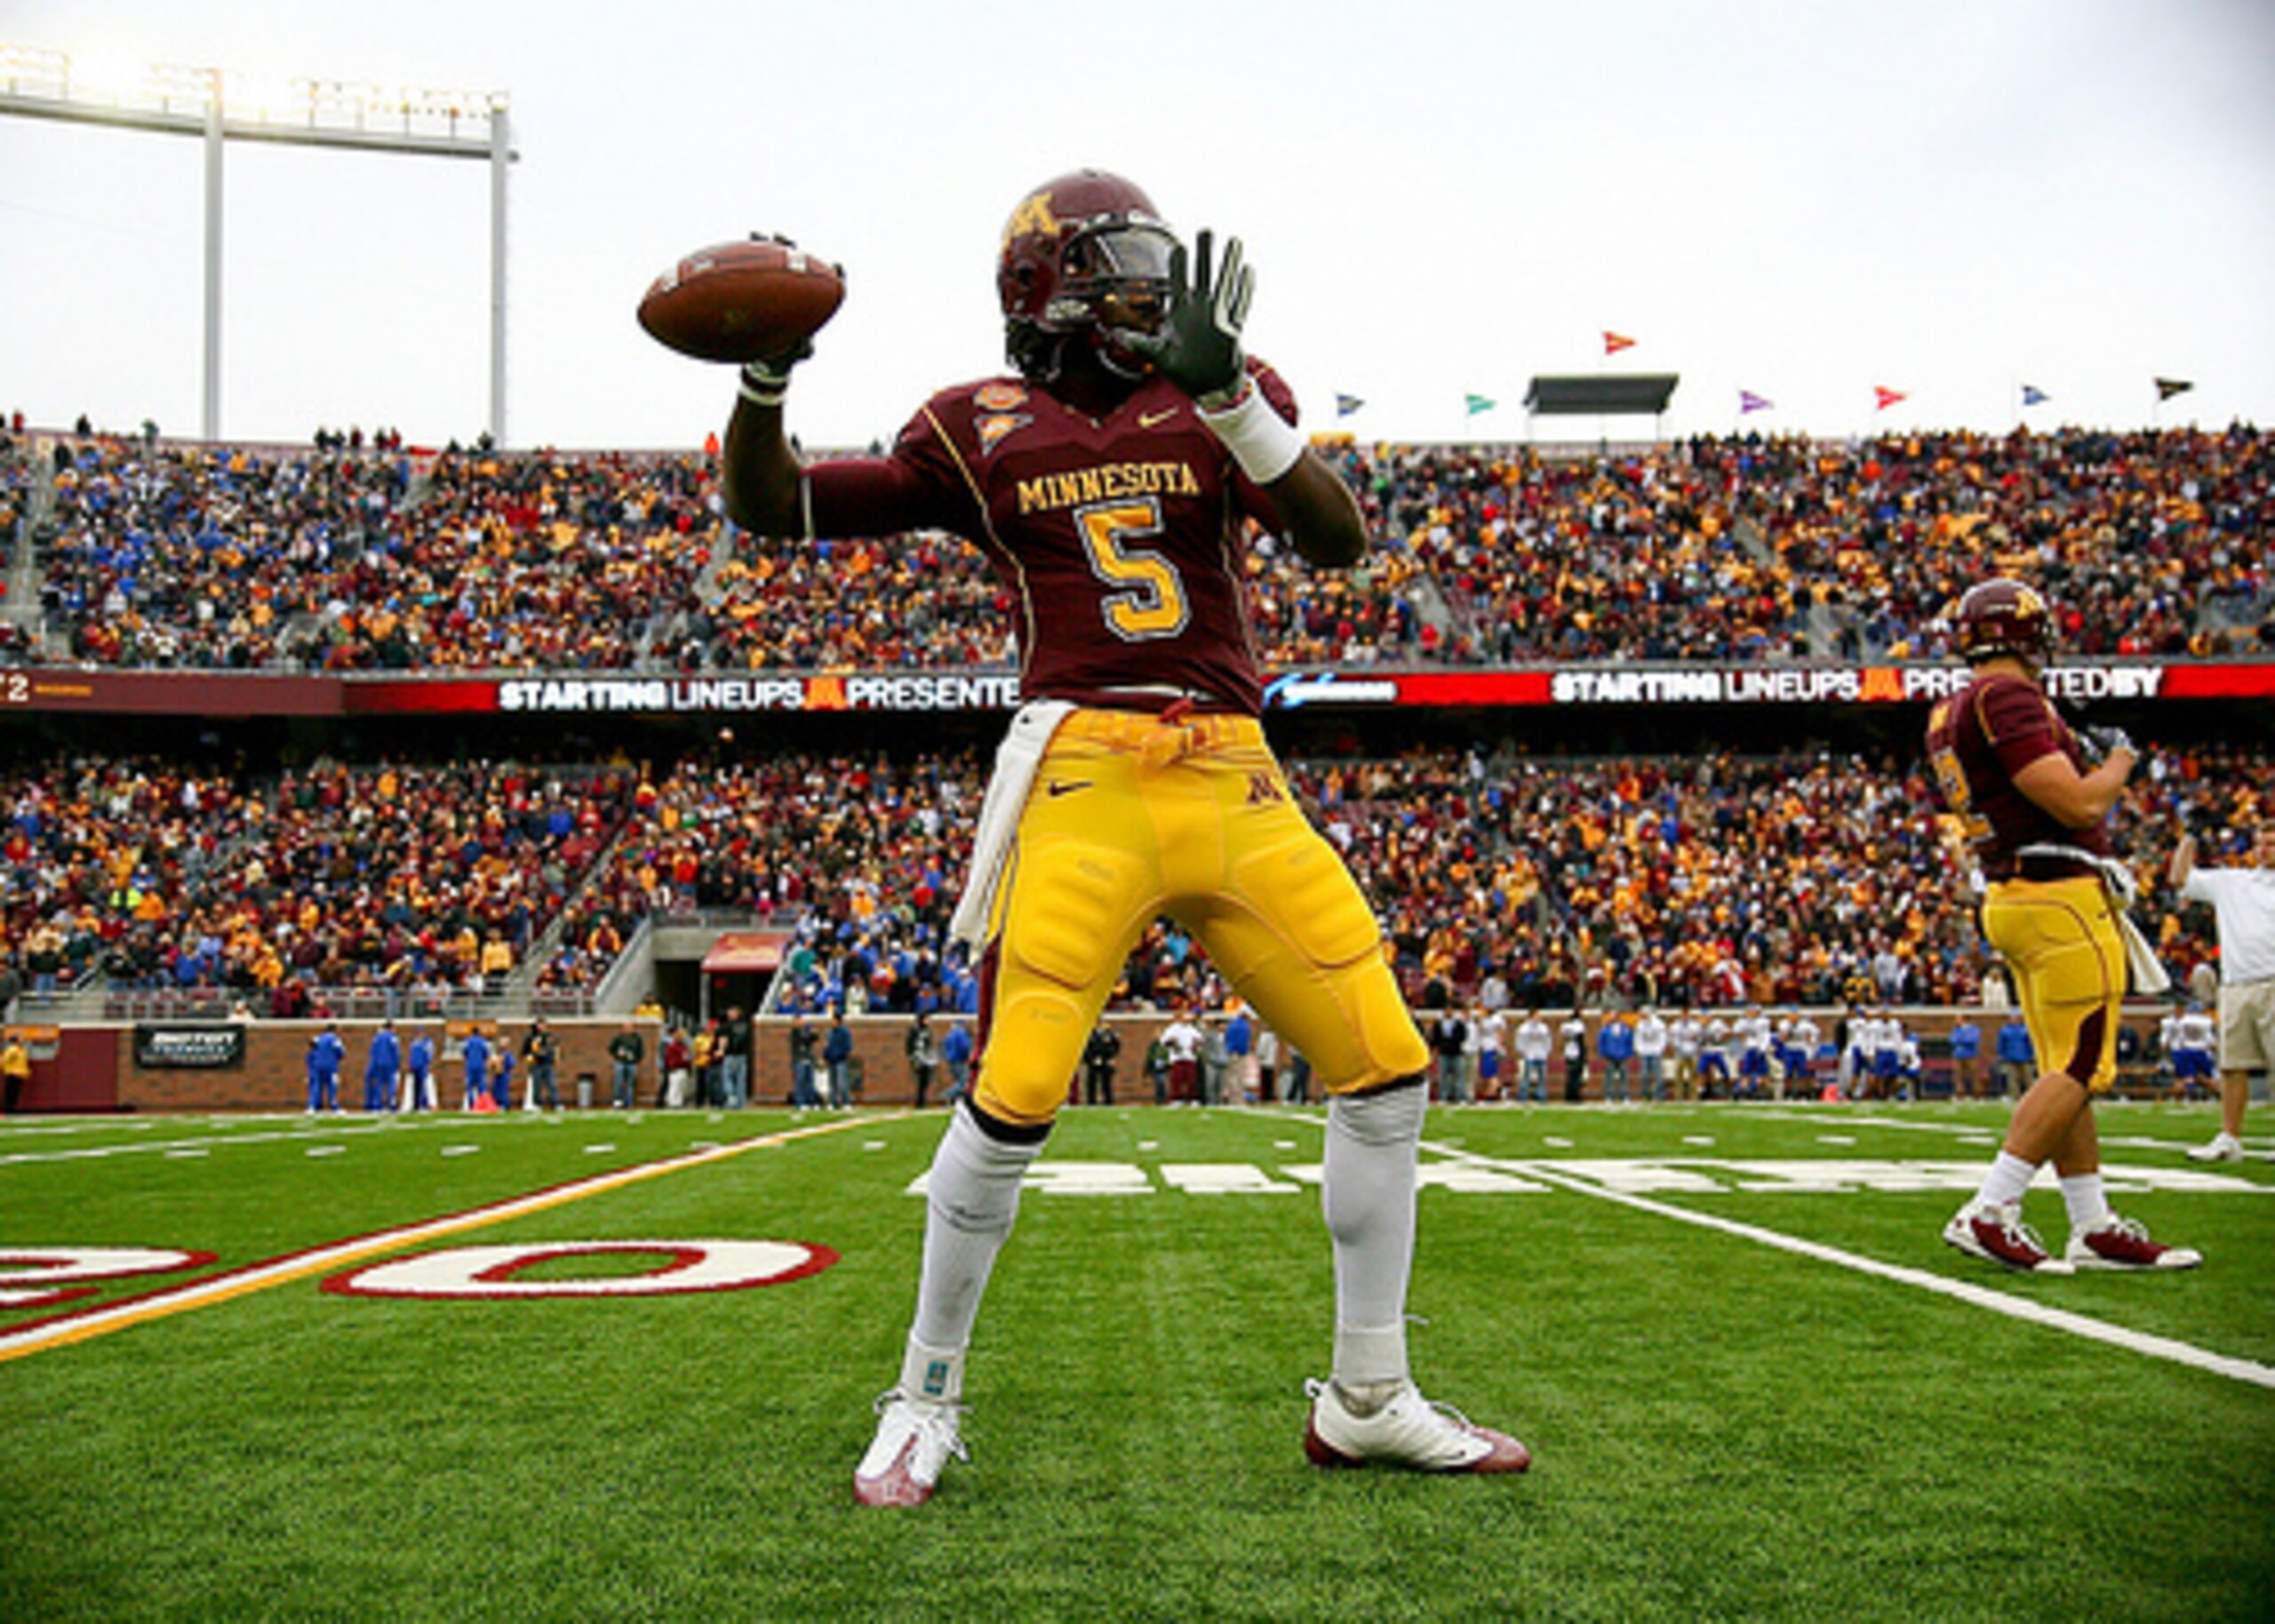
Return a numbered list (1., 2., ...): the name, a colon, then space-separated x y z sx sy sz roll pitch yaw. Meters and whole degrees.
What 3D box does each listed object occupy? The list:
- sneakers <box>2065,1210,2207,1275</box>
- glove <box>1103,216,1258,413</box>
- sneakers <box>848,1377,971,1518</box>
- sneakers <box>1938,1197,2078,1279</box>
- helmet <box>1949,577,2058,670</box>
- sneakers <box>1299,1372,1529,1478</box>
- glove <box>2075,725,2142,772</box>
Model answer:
1. sneakers: 3.455 1.476 6.708 0.535 0.211 0.178 -2 -4 8
2. glove: 0.126 -1.113 4.501 0.254 0.382 0.409 1 -3 -19
3. sneakers: -0.529 1.431 4.429 0.191 0.207 0.298 0 -3 4
4. sneakers: 2.991 1.446 6.627 0.500 0.241 0.177 13 4 11
5. helmet: 3.182 -0.700 7.100 0.373 0.302 0.280 4 4 1
6. sneakers: 0.634 1.456 4.653 0.566 0.226 0.198 2 -16 2
7. glove: 3.599 -0.203 7.271 0.089 0.231 0.173 -45 3 -16
